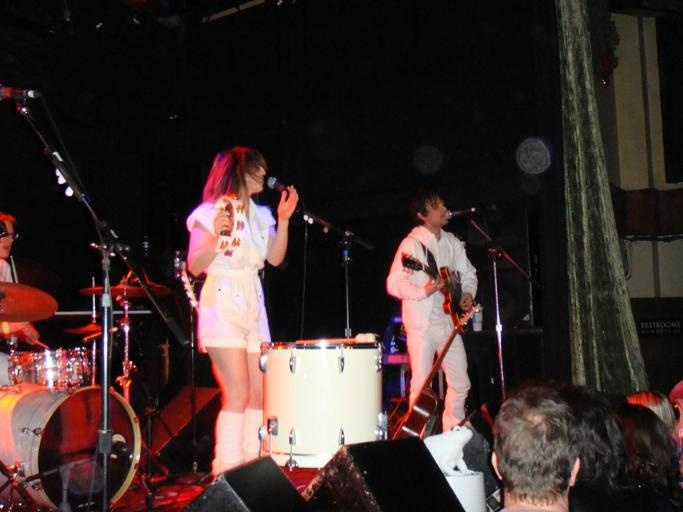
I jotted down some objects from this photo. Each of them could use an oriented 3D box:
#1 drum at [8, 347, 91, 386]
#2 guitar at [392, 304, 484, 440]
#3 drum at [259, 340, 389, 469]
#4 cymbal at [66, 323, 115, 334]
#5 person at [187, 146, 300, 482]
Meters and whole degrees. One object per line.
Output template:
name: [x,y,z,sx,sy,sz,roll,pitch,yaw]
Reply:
drum: [-2.057,0.788,4.278,0.362,0.175,0.316,0,-6,-7]
guitar: [0.828,0.972,5.320,0.536,1.132,1.329,-4,-9,31]
drum: [-0.127,1.007,4.334,0.883,0.809,0.921,-2,-6,23]
cymbal: [-2.075,0.605,4.987,0.302,0.076,0.297,11,-14,-44]
person: [-0.677,0.332,4.006,0.421,2.171,0.690,-6,-9,38]
